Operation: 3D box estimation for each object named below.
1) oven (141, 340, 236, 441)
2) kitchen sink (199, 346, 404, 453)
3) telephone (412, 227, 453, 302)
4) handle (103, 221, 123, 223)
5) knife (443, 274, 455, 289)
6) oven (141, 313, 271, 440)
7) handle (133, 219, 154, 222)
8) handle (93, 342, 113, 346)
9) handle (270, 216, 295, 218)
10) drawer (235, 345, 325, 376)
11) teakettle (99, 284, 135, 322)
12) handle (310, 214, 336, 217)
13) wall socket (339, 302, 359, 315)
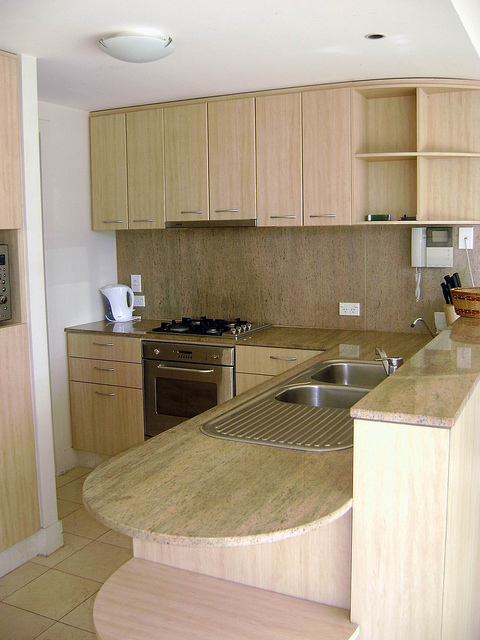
[{"bbox_3d":[-0.228,0.412,3.462,0.560,0.616,0.494,6,12,33],"label":"oven"},{"bbox_3d":[0.259,0.284,1.905,0.438,0.107,1.174,2,7,21],"label":"kitchen sink"},{"bbox_3d":[1.097,-0.325,3.159,0.262,0.435,0.070,-5,9,-15],"label":"telephone"},{"bbox_3d":[-0.850,-0.658,3.692,0.124,0.015,0.014,5,-5,24],"label":"handle"},{"bbox_3d":[1.128,-0.200,2.954,0.043,0.066,0.042,3,7,30],"label":"knife"},{"bbox_3d":[-0.257,0.396,3.559,0.673,0.765,0.640,9,15,32],"label":"oven"},{"bbox_3d":[-0.649,-0.649,3.601,0.081,0.008,0.009,2,29,17],"label":"handle"},{"bbox_3d":[-0.881,0.156,3.529,0.153,0.018,0.020,3,7,24],"label":"handle"},{"bbox_3d":[0.251,-0.586,3.137,0.162,0.015,0.017,1,20,20],"label":"handle"},{"bbox_3d":[0.251,0.166,3.197,0.488,0.152,0.363,5,14,25],"label":"drawer"},{"bbox_3d":[-0.862,-0.123,3.961,0.296,0.259,0.199,-4,8,-33],"label":"teakettle"},{"bbox_3d":[0.463,-0.573,3.030,0.137,0.015,0.014,2,31,20],"label":"handle"},{"bbox_3d":[0.674,-0.069,3.383,0.117,0.076,0.010,3,7,25],"label":"wall socket"}]
